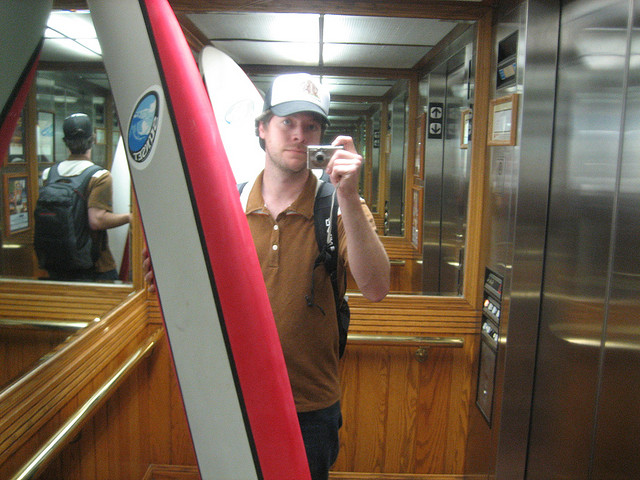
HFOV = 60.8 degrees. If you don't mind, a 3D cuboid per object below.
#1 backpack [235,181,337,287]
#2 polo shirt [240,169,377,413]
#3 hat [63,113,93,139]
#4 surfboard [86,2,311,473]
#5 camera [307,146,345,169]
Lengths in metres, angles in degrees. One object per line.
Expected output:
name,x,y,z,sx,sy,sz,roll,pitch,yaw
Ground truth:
backpack,-0.084,-0.060,1.996,0.260,0.427,0.375,0,31,6
polo shirt,-0.110,0.173,2.022,0.357,0.842,0.252,5,9,39
hat,-0.969,-0.441,2.173,0.060,0.094,0.088,2,-2,-25
surfboard,-0.269,-0.013,1.195,0.480,1.018,0.173,4,9,35
camera,-0.001,-0.285,1.879,0.113,0.085,0.074,0,1,7
